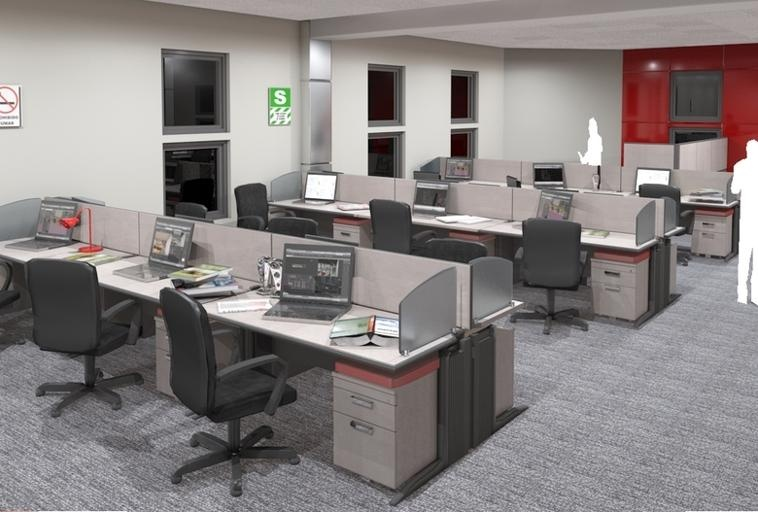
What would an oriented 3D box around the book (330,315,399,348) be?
[{"bbox_3d":[-0.083,0.507,3.572,0.303,0.065,0.214,-4,16,4],"label":"book"}]
